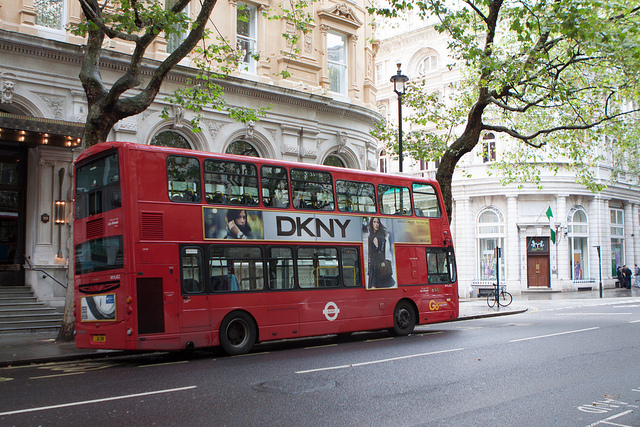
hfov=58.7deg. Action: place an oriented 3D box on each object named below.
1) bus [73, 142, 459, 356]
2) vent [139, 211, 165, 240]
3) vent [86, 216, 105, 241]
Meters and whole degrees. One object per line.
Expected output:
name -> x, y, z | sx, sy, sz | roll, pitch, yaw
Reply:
bus -> -1.086, 1.371, 20.443 | 13.830, 6.064, 3.730 | 3, -8, -38
vent -> -4.721, 0.310, 15.841 | 0.747, 0.786, 0.400 | 2, -3, -34
vent -> -6.484, 0.404, 16.368 | 0.172, 0.608, 0.974 | 0, -1, -43
